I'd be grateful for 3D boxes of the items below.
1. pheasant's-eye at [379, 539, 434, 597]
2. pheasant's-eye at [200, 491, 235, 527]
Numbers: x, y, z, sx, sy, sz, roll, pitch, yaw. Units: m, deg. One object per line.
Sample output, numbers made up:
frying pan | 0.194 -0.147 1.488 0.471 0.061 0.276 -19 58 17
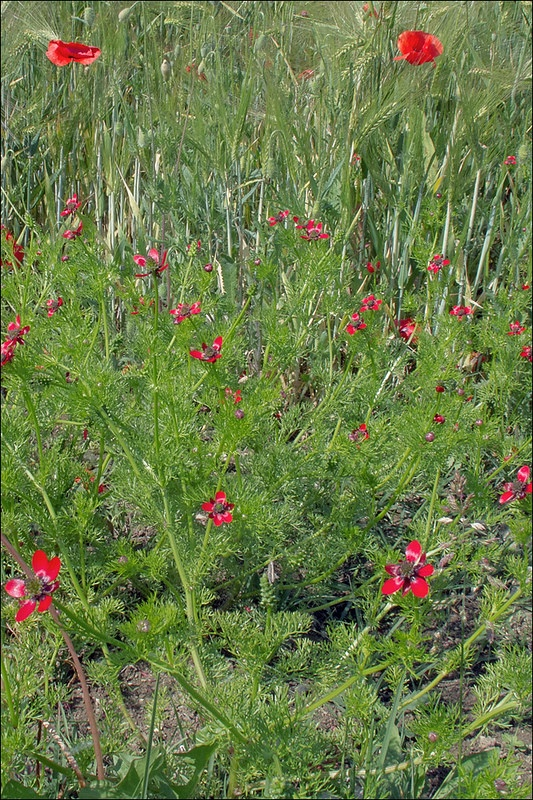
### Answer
pheasant's-eye | 0.274 0.336 1.815 0.090 0.059 0.117 3 77 39
pheasant's-eye | -0.104 0.231 1.995 0.074 0.030 0.074 -9 84 -2
